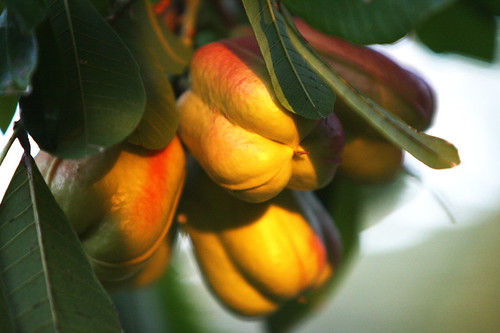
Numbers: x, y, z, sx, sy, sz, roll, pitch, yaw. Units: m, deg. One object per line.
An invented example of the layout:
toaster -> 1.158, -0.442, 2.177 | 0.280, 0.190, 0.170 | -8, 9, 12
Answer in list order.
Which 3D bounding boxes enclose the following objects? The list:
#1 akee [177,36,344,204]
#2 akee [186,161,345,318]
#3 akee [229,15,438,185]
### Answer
akee -> 0.009, -0.046, 0.811 | 0.175, 0.133, 0.241 | -28, 41, -6
akee -> 0.020, 0.138, 0.910 | 0.175, 0.126, 0.240 | -45, 82, -2
akee -> 0.153, -0.100, 0.921 | 0.352, 0.159, 0.173 | 44, 57, 4
